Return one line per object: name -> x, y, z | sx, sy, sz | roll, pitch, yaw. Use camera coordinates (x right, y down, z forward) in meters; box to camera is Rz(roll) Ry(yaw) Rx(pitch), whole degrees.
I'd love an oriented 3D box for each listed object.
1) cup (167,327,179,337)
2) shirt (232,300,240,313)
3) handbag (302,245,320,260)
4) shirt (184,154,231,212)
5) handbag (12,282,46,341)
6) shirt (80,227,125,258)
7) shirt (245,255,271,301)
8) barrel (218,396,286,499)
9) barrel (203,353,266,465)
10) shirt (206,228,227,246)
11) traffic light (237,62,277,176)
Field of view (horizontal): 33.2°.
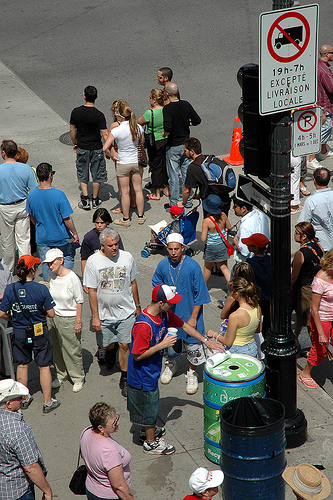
cup -> 0.050, 0.711, 4.838 | 0.077, 0.063, 0.069 | 12, 31, 13
shirt -> 0.723, 0.600, 5.888 | 0.113, 0.131, 0.047 | 1, -28, 28
handbag -> 1.660, 0.030, 6.391 | 0.162, 0.038, 0.152 | 23, 6, -41
shirt -> 0.599, -1.082, 8.692 | 0.305, 0.805, 0.739 | -15, 13, -39
handbag -> -1.408, 0.637, 5.692 | 0.256, 0.635, 0.106 | -10, 11, -20
shirt -> -0.804, -0.046, 6.917 | 0.642, 0.473, 0.216 | -7, 33, -16
shirt -> 1.109, 0.321, 6.558 | 0.408, 0.473, 0.340 | 6, 22, 6
barrel -> 0.644, 1.515, 4.187 | 0.514, 0.692, 0.382 | -5, 10, 6
barrel -> 0.662, 1.458, 5.161 | 0.671, 0.910, 0.685 | -3, 18, 1
shirt -> 0.680, -0.172, 7.922 | 0.245, 0.165, 0.231 | -2, 8, 10
traffic light -> 0.751, -1.090, 4.652 | 0.267, 0.951, 0.723 | -7, 10, -2
